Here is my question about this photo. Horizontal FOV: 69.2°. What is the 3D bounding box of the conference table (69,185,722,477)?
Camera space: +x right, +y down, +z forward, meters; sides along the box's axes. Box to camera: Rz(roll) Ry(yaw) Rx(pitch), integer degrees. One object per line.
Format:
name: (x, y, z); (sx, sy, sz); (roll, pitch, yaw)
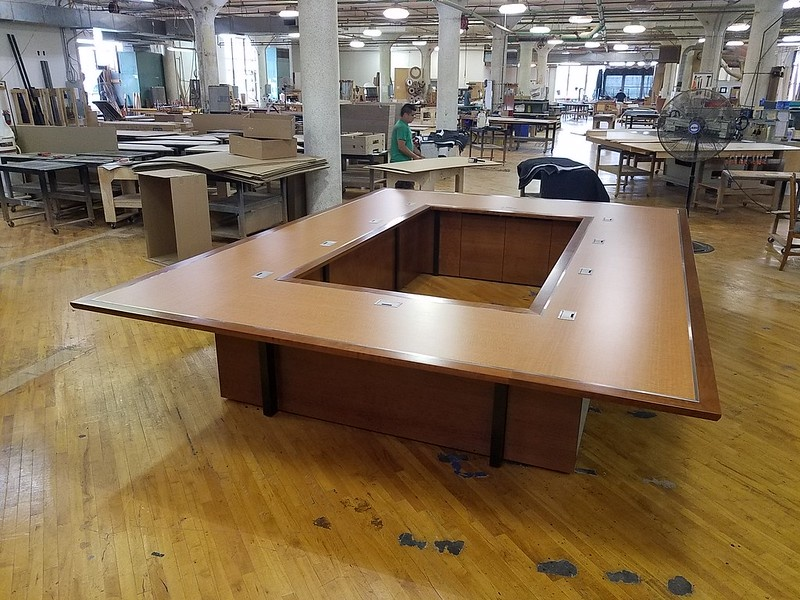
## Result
conference table: (0.372, -0.021, 4.076); (3.180, 0.660, 3.209); (7, 24, 17)
